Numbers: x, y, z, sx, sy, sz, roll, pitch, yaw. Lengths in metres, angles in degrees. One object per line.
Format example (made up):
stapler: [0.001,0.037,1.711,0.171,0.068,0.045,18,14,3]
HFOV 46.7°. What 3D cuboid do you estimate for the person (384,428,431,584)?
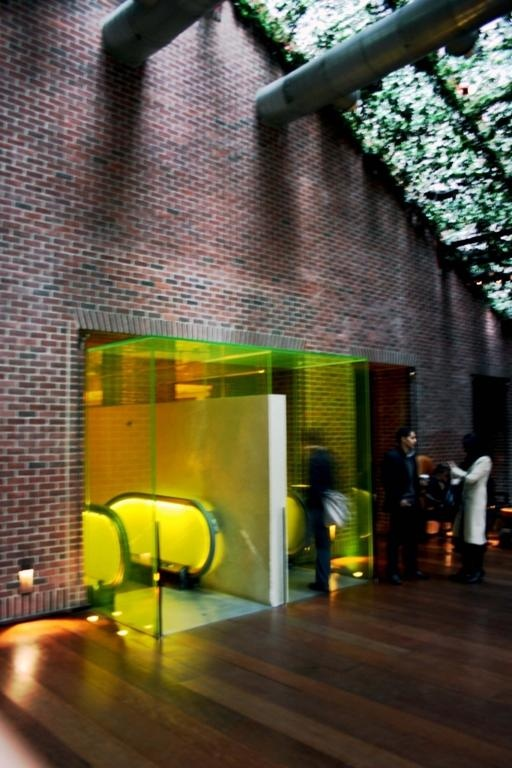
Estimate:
person: [1.633,1.351,6.641,0.407,1.707,0.804,-3,-8,13]

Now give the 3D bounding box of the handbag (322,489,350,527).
handbag: [0.897,1.300,6.199,0.318,0.384,0.400,4,-9,-33]

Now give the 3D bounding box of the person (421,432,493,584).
person: [2.430,1.399,6.727,0.475,1.659,0.603,-3,-8,18]

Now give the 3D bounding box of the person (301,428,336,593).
person: [0.687,1.354,6.235,0.339,1.678,0.438,1,-8,-10]
